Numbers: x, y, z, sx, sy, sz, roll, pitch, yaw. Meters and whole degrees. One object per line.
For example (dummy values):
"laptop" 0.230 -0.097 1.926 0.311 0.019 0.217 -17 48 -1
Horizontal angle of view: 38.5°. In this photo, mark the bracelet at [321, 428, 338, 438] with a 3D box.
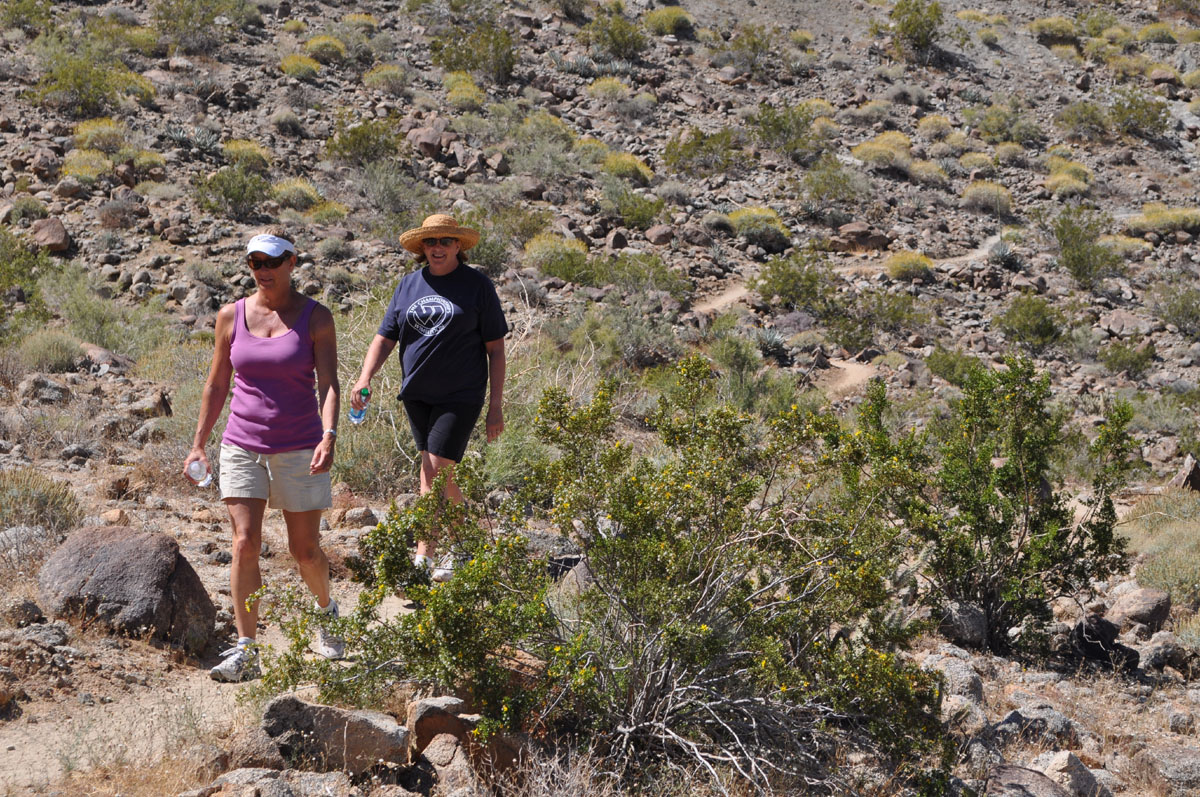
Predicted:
"bracelet" -3.850 0.506 24.196 0.208 0.134 0.116 11 15 15

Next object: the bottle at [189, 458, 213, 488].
"bottle" -5.780 1.092 24.739 0.218 0.394 0.387 -25 -17 -18
